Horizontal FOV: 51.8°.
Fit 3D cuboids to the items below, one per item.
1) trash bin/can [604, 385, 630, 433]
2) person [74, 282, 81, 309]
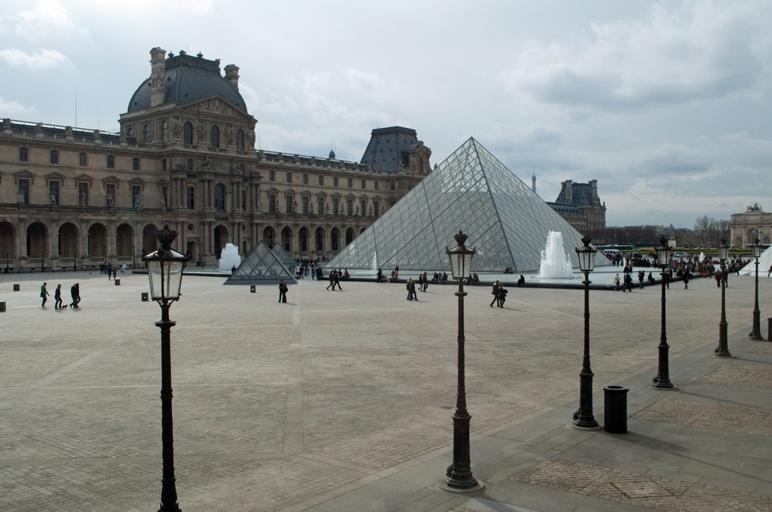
[{"bbox_3d":[4.635,3.098,16.034,0.483,0.903,0.389,1,10,11],"label":"trash bin/can"},{"bbox_3d":[-13.431,1.745,34.321,0.268,1.091,1.750,-4,10,-19],"label":"person"}]
